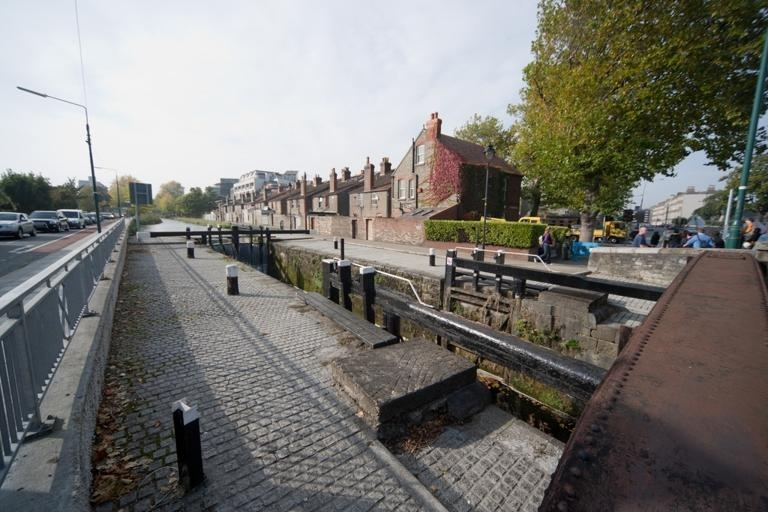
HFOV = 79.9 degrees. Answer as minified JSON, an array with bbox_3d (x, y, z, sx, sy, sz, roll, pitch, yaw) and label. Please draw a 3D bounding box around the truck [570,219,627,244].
[{"bbox_3d":[13.865,-1.496,29.373,1.690,1.853,4.167,-4,7,-16],"label":"truck"}]
